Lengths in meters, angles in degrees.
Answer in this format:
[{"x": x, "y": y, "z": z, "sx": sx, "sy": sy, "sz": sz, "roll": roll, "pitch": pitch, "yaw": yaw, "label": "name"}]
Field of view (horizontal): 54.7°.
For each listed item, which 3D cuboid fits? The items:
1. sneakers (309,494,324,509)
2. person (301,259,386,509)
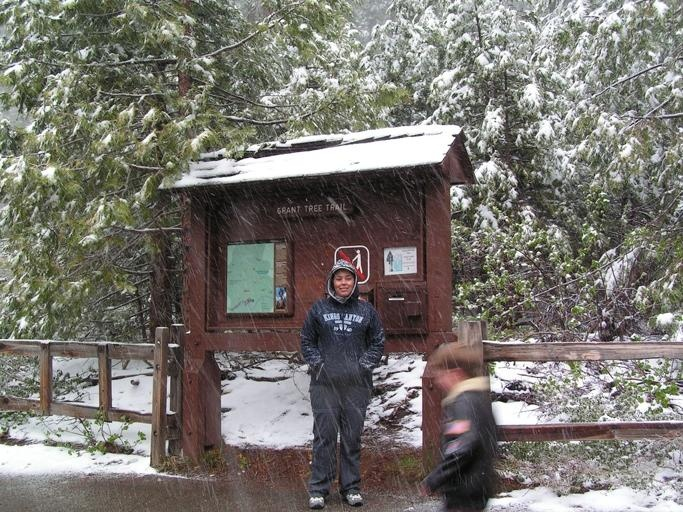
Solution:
[{"x": -0.258, "y": 2.770, "z": 7.465, "sx": 0.182, "sy": 0.148, "sz": 0.111, "roll": -2, "pitch": 2, "yaw": -19, "label": "sneakers"}, {"x": 0.015, "y": 1.445, "z": 7.658, "sx": 0.919, "sy": 2.747, "sz": 0.535, "roll": -1, "pitch": 2, "yaw": -5, "label": "person"}]
